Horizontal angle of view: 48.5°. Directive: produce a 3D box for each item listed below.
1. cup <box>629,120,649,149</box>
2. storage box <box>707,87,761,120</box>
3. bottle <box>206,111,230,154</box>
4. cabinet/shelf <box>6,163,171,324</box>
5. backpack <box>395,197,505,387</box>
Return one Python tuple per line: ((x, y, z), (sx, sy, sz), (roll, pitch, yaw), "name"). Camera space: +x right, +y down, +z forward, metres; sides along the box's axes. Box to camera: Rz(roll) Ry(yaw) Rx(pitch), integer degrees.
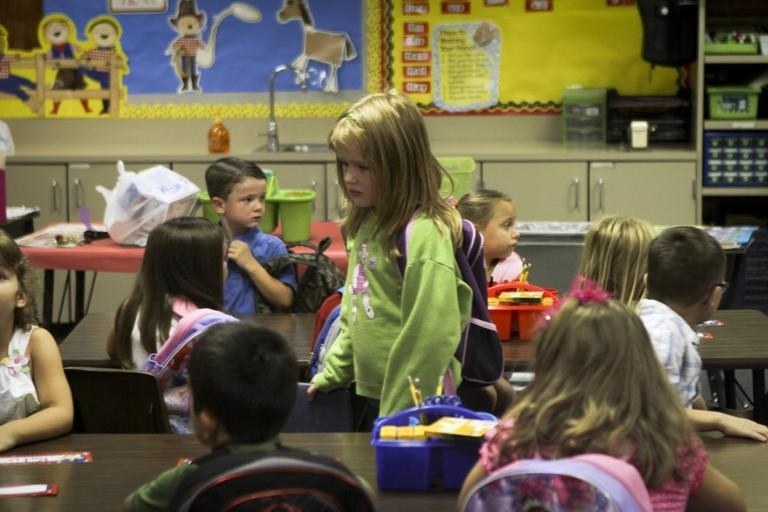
((1.705, -0.806, 5.701), (0.169, 0.188, 0.170), (0, 3, 0), "cup")
((2.273, -0.995, 5.539), (0.283, 0.138, 0.224), (2, 6, 5), "storage box")
((-1.130, -0.813, 5.821), (0.137, 0.242, 0.201), (-2, 7, -12), "bottle")
((-1.321, 0.000, 4.340), (0.969, 0.865, 0.714), (1, 17, -11), "cabinet/shelf")
((0.129, 0.066, 3.030), (0.466, 0.779, 0.599), (-1, 8, -2), "backpack")
